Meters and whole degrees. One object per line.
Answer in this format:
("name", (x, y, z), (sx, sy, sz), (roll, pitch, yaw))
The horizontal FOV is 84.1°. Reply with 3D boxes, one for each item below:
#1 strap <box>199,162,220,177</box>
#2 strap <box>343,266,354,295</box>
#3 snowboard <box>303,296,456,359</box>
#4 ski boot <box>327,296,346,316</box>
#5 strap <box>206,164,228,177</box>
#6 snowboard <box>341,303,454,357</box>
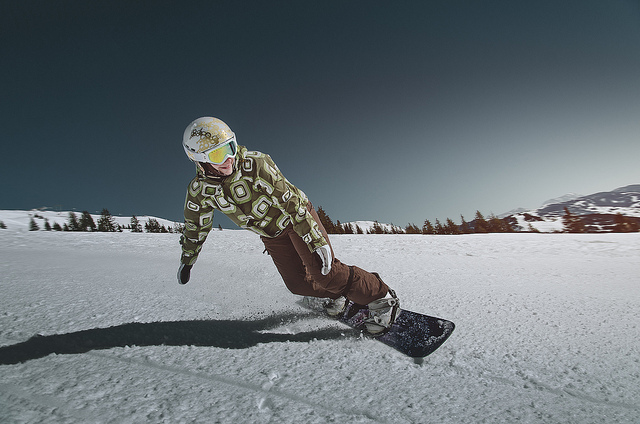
("strap", (-1.158, -0.448, 3.693), (0.123, 0.062, 0.158), (35, 32, 9))
("strap", (0.316, 0.730, 3.741), (0.102, 0.293, 0.070), (0, 0, -37))
("snowboard", (0.597, 1.163, 3.786), (1.397, 0.187, 0.436), (11, 28, 44))
("ski boot", (0.198, 1.057, 3.966), (0.171, 0.202, 0.198), (22, 19, 10))
("strap", (-1.074, -0.432, 3.690), (0.133, 0.048, 0.101), (32, 27, 25))
("snowboard", (0.808, 1.151, 3.628), (0.656, 0.251, 0.985), (-1, 2, -41))
